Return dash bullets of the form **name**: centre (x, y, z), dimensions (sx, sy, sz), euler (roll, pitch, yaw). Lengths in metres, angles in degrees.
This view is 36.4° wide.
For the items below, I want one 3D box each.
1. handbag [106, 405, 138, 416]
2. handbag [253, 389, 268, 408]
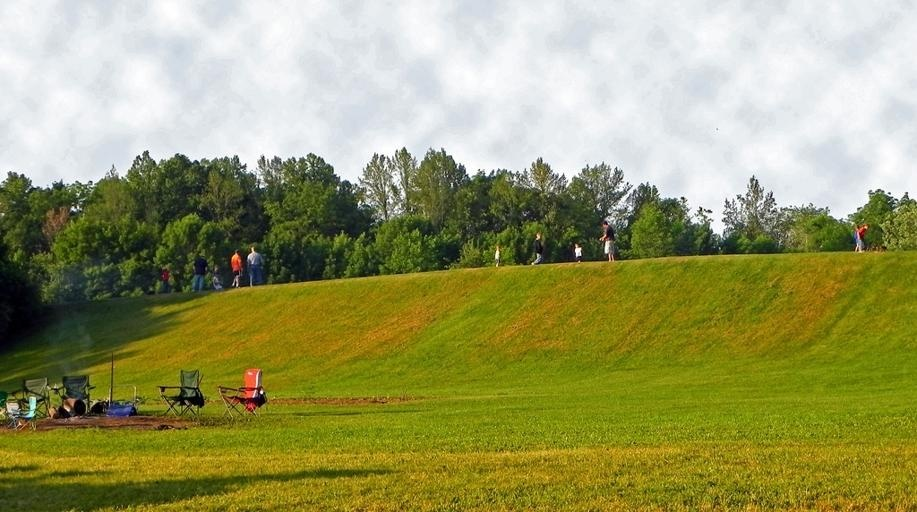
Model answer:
- **handbag**: centre (-26.683, 12.277, 111.314), dimensions (1.494, 0.503, 1.132), euler (2, -2, 17)
- **handbag**: centre (-15.650, 11.344, 112.286), dimensions (1.035, 1.392, 1.477), euler (2, 3, 1)
